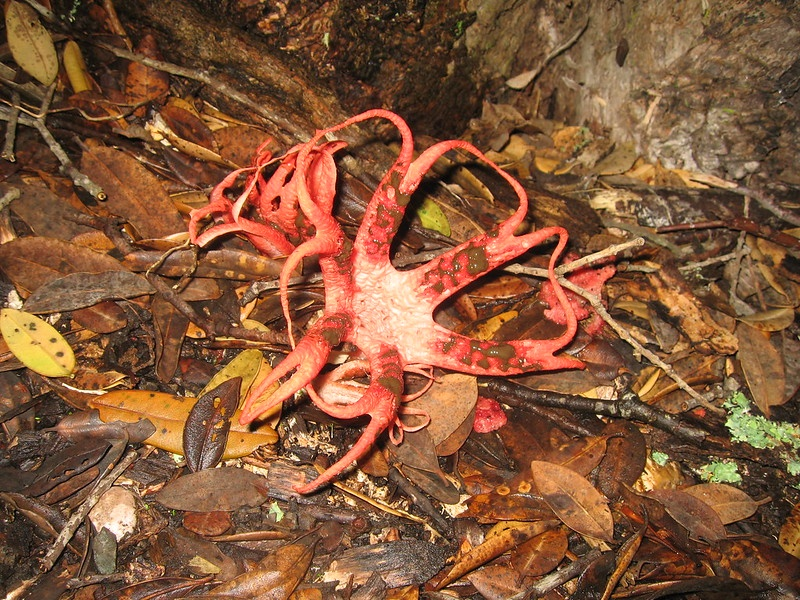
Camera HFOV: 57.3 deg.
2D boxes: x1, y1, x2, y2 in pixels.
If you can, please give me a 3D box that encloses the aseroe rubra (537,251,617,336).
[{"bbox_3d":[1.095,-0.035,4.561,0.490,0.102,0.476,-14,64,-31],"label":"aseroe rubra"}]
